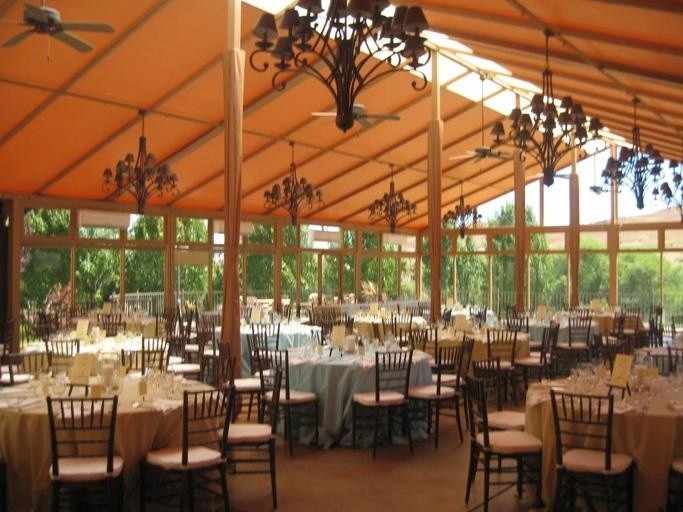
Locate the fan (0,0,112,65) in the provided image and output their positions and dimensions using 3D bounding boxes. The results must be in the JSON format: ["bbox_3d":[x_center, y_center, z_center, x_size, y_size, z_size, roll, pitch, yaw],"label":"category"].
[{"bbox_3d":[-4.308,-3.315,10.630,1.036,0.466,1.029,3,-20,-35],"label":"fan"}]

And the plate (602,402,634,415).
[{"bbox_3d":[3.024,1.656,7.889,0.381,0.117,0.128,-3,-7,-4],"label":"plate"}]
